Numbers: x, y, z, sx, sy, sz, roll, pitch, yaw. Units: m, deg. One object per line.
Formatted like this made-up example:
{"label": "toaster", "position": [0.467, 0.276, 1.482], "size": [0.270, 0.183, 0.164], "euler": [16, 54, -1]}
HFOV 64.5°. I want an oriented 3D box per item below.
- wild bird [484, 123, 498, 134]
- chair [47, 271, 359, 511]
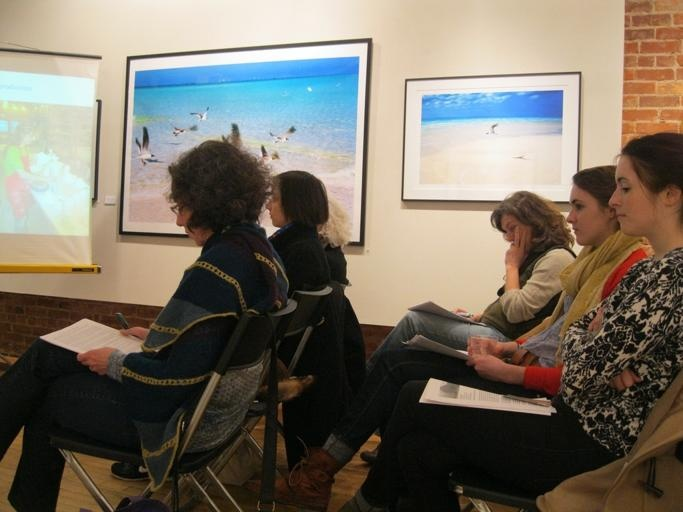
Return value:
{"label": "wild bird", "position": [1.108, -0.937, 4.020], "size": [0.031, 0.078, 0.063], "euler": [41, 3, -8]}
{"label": "chair", "position": [-0.419, 0.567, 2.641], "size": [1.226, 1.456, 0.921], "euler": [2, -3, 8]}
